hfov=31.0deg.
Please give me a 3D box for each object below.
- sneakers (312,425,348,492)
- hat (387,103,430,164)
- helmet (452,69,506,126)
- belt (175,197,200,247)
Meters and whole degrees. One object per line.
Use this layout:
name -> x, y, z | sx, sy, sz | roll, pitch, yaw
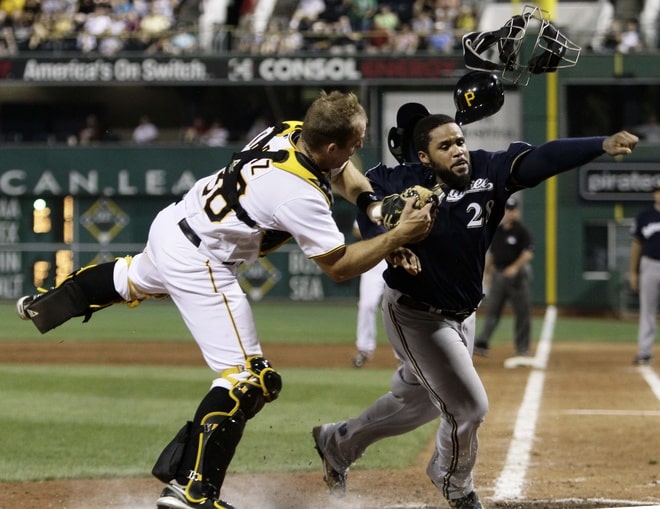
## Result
sneakers -> -0.005, 1.512, 9.023 | 0.271, 0.567, 0.189 | -6, 15, 29
hat -> 0.553, -0.874, 8.668 | 0.333, 0.425, 0.156 | -9, 5, 8
helmet -> 1.037, -1.181, 8.798 | 0.318, 0.350, 0.435 | -32, 22, -12
belt -> -0.985, -0.185, 8.261 | 0.102, 0.195, 0.148 | -39, 31, -2
